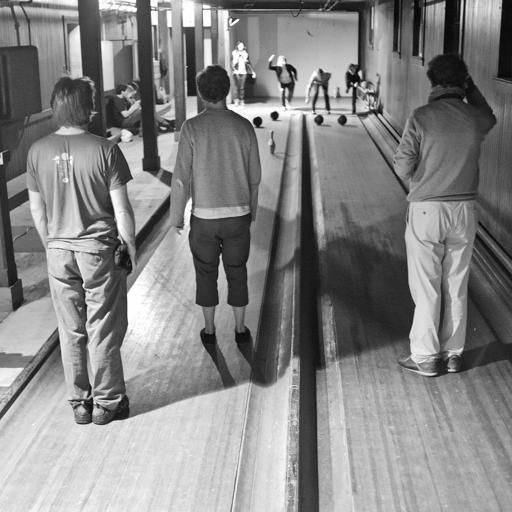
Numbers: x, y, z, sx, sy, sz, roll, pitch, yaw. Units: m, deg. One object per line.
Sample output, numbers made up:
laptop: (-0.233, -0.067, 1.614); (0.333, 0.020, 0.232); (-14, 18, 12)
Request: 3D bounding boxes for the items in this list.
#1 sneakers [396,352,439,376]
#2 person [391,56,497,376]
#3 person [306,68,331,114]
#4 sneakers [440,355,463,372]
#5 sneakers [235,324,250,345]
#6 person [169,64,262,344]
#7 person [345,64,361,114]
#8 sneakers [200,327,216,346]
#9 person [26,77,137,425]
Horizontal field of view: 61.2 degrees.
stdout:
sneakers: (0.937, 0.629, 2.516); (0.091, 0.123, 0.257); (-3, 8, -22)
person: (0.979, -0.165, 2.328); (0.517, 1.718, 0.304); (0, 11, 3)
person: (2.149, -5.595, 14.812); (0.773, 1.505, 0.860); (-3, 34, 0)
sneakers: (1.126, 0.621, 2.478); (0.065, 0.082, 0.178); (-2, -2, 10)
sneakers: (-0.089, 0.550, 3.014); (0.111, 0.127, 0.087); (-1, -6, -16)
person: (-0.248, -0.239, 2.676); (0.557, 1.746, 0.281); (-4, 12, -14)
person: (3.372, -5.782, 15.077); (0.458, 1.818, 1.556); (2, 12, 12)
sneakers: (-0.328, 0.546, 2.976); (0.114, 0.170, 0.087); (0, -9, -9)
person: (-0.760, 0.034, 1.937); (0.440, 1.566, 0.242); (-4, 12, -17)
